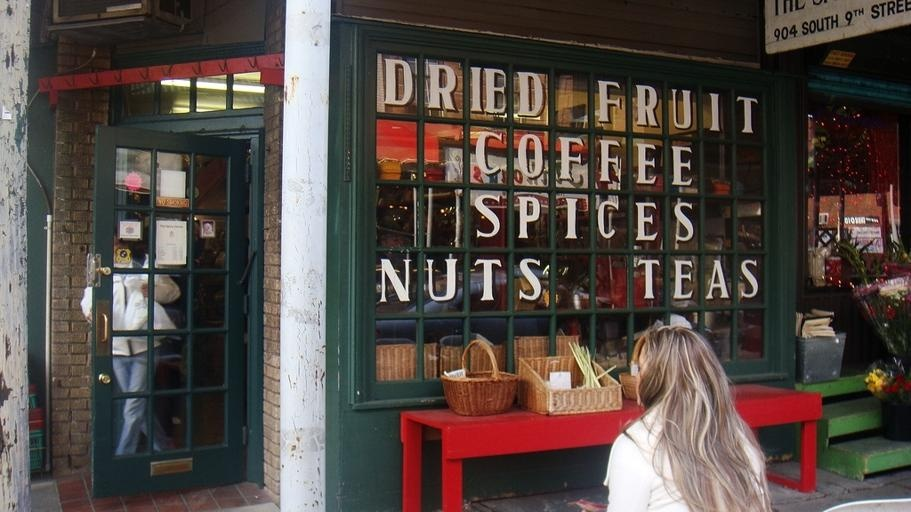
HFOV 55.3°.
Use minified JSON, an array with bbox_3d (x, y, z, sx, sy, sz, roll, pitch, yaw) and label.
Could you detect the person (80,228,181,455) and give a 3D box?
[{"bbox_3d":[-3.261,1.010,9.122,0.651,2.154,0.276,-2,-5,-20],"label":"person"}]
